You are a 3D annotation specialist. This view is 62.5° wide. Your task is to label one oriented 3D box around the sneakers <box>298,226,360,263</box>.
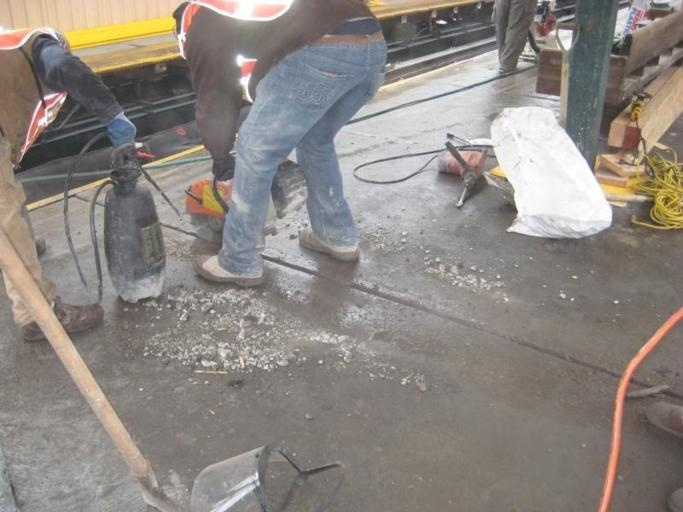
[{"bbox_3d":[-0.115,-0.078,3.668,0.449,0.187,0.173,19,34,31],"label":"sneakers"}]
